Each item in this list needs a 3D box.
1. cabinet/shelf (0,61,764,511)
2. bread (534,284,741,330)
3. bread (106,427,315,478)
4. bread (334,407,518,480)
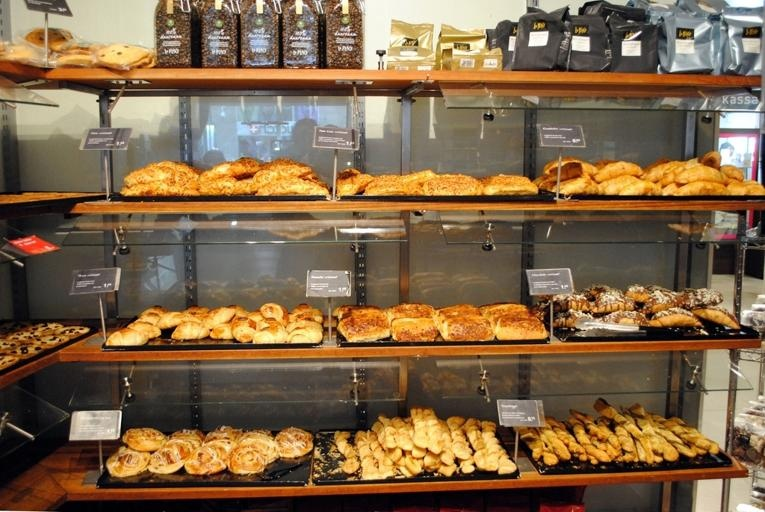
[{"bbox_3d":[-0.167,0.201,4.119,4.040,1.811,0.639,0,5,-4],"label":"cabinet/shelf"},{"bbox_3d":[1.708,0.350,4.148,0.879,0.131,0.492,2,-1,5],"label":"bread"},{"bbox_3d":[-1.126,1.257,3.960,0.835,0.103,0.464,1,-1,-3],"label":"bread"},{"bbox_3d":[0.295,1.189,3.990,0.767,0.149,0.484,0,3,-5],"label":"bread"}]
